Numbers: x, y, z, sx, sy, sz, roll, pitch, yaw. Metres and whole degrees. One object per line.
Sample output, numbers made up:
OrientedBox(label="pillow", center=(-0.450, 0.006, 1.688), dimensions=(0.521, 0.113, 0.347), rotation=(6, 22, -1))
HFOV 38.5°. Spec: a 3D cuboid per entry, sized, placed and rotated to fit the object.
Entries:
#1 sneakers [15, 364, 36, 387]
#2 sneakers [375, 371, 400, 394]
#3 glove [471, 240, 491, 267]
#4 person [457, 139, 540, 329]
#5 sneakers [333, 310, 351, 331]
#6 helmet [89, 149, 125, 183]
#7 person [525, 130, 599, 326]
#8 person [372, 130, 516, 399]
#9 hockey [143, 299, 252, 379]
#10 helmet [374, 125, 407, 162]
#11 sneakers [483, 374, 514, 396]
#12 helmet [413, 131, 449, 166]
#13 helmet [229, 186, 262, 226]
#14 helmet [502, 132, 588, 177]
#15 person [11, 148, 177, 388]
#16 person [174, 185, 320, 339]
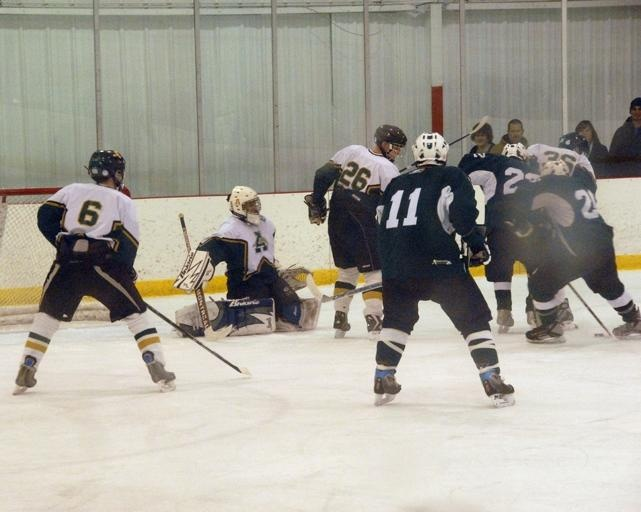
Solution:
OrientedBox(label="sneakers", center=(-1.739, 0.716, 5.357), dimensions=(0.112, 0.168, 0.133), rotation=(-5, 9, -21))
OrientedBox(label="sneakers", center=(0.365, 0.698, 4.991), dimensions=(0.121, 0.086, 0.111), rotation=(3, -6, -23))
OrientedBox(label="glove", center=(0.879, -0.009, 4.914), dimensions=(0.129, 0.122, 0.100), rotation=(-15, 11, -3))
OrientedBox(label="person", center=(1.340, -0.110, 6.830), dimensions=(0.717, 1.239, 0.329), rotation=(3, 2, 30))
OrientedBox(label="sneakers", center=(0.180, 0.507, 6.941), dimensions=(0.108, 0.143, 0.151), rotation=(0, -8, 6))
OrientedBox(label="helmet", center=(-1.324, -0.547, 5.573), dimensions=(0.181, 0.222, 0.217), rotation=(7, 9, 24))
OrientedBox(label="person", center=(1.809, -0.254, 6.866), dimensions=(0.351, 1.266, 0.892), rotation=(2, 8, -30))
OrientedBox(label="person", center=(0.664, 0.068, 4.991), dimensions=(0.729, 1.457, 0.408), rotation=(-1, 8, 9))
OrientedBox(label="hockey", center=(-0.831, 0.591, 6.364), dimensions=(0.686, 0.109, 0.034), rotation=(41, 35, 12))
OrientedBox(label="helmet", center=(0.544, -0.858, 6.924), dimensions=(0.287, 0.267, 0.220), rotation=(9, 21, 12))
OrientedBox(label="sneakers", center=(0.937, 0.690, 4.850), dimensions=(0.157, 0.101, 0.093), rotation=(1, 2, -9))
OrientedBox(label="helmet", center=(0.622, -0.598, 5.149), dimensions=(0.161, 0.186, 0.198), rotation=(2, 11, 12))
OrientedBox(label="helmet", center=(-0.589, -0.394, 7.169), dimensions=(0.296, 0.292, 0.244), rotation=(5, 8, 17))
OrientedBox(label="helmet", center=(1.707, -0.782, 6.816), dimensions=(0.522, 0.215, 0.375), rotation=(5, 7, 18))
OrientedBox(label="person", center=(-1.373, 0.093, 5.373), dimensions=(0.940, 1.397, 0.480), rotation=(-3, 8, -9))
OrientedBox(label="person", center=(-0.650, 0.075, 7.794), dimensions=(1.371, 1.214, 0.793), rotation=(-3, 0, -40))
